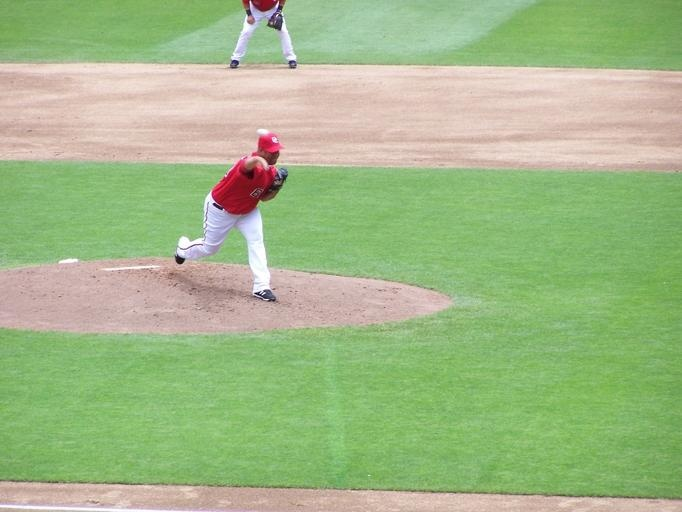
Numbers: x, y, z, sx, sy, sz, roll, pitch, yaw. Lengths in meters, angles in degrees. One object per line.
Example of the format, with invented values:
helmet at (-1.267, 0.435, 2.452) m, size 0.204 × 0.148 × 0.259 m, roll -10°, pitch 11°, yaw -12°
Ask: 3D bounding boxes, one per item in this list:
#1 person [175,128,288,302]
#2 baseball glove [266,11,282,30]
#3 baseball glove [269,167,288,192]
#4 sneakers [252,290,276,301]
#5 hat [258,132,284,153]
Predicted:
person at (-1.344, -0.620, 21.373) m, size 1.545 × 2.267 × 0.839 m, roll 22°, pitch 25°, yaw 39°
baseball glove at (-1.399, -4.714, 32.034) m, size 0.306 × 0.381 × 0.156 m, roll 36°, pitch 23°, yaw -35°
baseball glove at (-0.876, -1.040, 21.332) m, size 0.183 × 0.308 × 0.256 m, roll 7°, pitch 18°, yaw 1°
sneakers at (-1.053, 0.509, 21.278) m, size 0.323 × 0.088 × 0.143 m, roll 2°, pitch 6°, yaw 37°
hat at (-1.034, -1.534, 21.156) m, size 0.421 × 0.158 × 0.264 m, roll 17°, pitch 33°, yaw 27°
